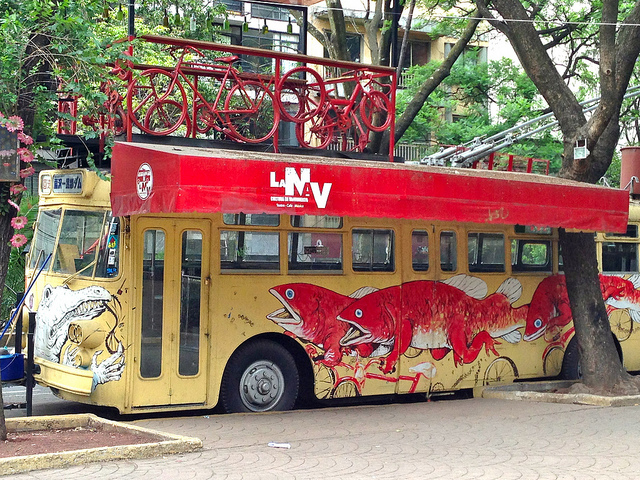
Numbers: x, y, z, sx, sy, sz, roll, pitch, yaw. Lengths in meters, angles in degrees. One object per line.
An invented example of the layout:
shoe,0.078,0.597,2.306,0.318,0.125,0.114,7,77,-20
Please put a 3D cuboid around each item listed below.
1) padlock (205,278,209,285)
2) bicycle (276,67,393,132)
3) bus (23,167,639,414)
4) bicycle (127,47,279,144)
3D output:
padlock,-1.607,0.584,15.026,0.095,0.092,0.023,1,1,-7
bicycle,0.305,-2.167,17.522,2.208,1.094,0.614,-11,11,-33
bus,-0.340,0.978,15.681,11.705,3.457,3.294,0,-2,-11
bicycle,-1.852,-2.270,16.883,2.597,1.388,0.692,0,11,-29
